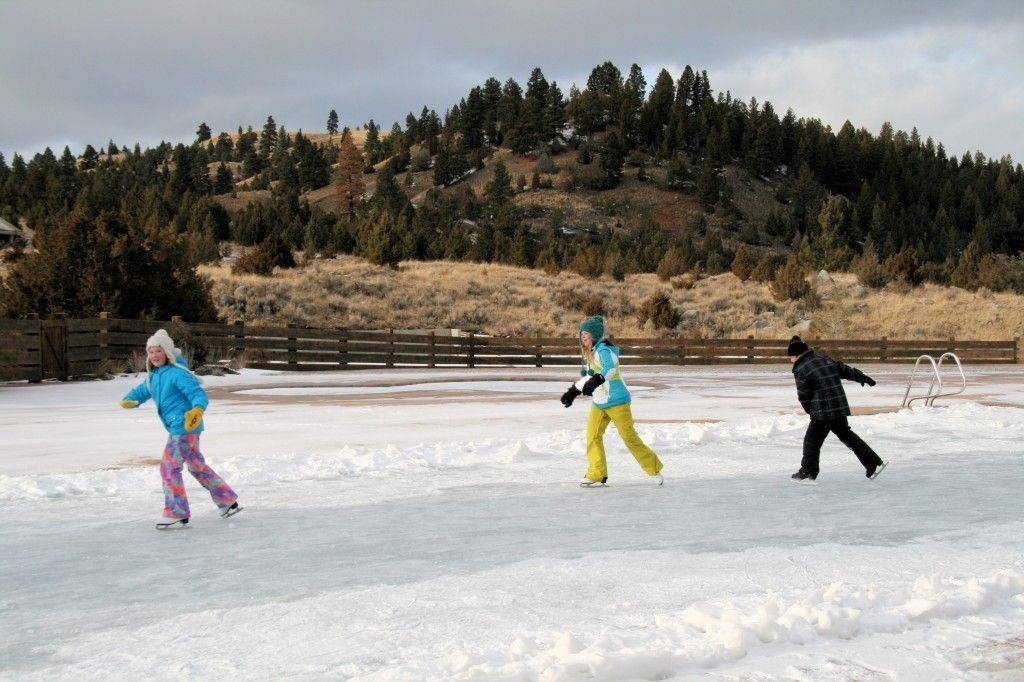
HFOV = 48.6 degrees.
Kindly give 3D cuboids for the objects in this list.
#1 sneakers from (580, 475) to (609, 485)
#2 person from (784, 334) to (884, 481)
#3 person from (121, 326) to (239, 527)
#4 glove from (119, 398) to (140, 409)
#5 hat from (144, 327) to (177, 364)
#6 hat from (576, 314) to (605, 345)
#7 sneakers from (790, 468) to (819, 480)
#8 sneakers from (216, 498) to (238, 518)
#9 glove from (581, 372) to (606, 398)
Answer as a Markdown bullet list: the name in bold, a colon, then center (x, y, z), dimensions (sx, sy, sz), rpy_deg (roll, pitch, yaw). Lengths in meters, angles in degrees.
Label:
- **sneakers**: center (1.023, 1.719, 13.927), dimensions (0.333, 0.146, 0.118), rpy_deg (4, -2, 0)
- **person**: center (4.044, 0.855, 14.314), dimensions (1.036, 1.762, 0.798), rpy_deg (0, 10, 3)
- **person**: center (-3.677, 0.936, 12.439), dimensions (0.916, 2.120, 0.900), rpy_deg (8, 13, 39)
- **glove**: center (-4.164, 0.692, 12.438), dimensions (0.264, 0.097, 0.269), rpy_deg (1, 0, -35)
- **hat**: center (-3.929, 0.052, 12.611), dimensions (0.380, 0.417, 0.420), rpy_deg (-3, -7, 9)
- **hat**: center (1.006, -0.154, 14.056), dimensions (0.425, 0.415, 0.293), rpy_deg (3, -6, -30)
- **sneakers**: center (3.662, 1.665, 14.193), dimensions (0.320, 0.133, 0.286), rpy_deg (3, 10, 16)
- **sneakers**: center (-3.145, 1.881, 12.606), dimensions (0.267, 0.252, 0.130), rpy_deg (-4, 2, 33)
- **glove**: center (0.961, 0.522, 13.525), dimensions (0.197, 0.143, 0.314), rpy_deg (13, 41, 35)
